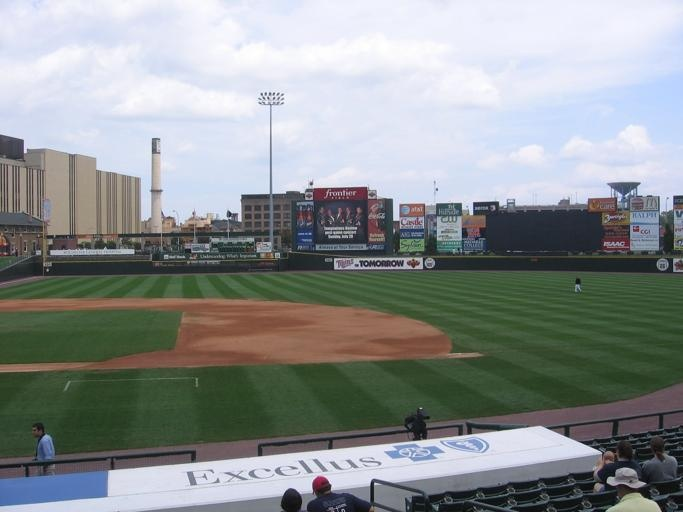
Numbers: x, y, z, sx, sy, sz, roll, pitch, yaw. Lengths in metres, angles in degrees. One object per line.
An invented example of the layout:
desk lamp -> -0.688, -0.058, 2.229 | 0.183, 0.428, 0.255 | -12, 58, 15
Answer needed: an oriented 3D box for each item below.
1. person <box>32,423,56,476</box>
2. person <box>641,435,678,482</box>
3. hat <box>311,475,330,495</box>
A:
person -> -7.797, 5.066, 22.093 | 0.676, 1.879, 0.851 | 1, -16, -21
person -> 7.476, 4.794, 19.992 | 0.936, 1.232, 0.838 | -3, 15, 12
hat -> -0.448, 4.901, 18.244 | 0.334, 0.255, 0.446 | -1, 0, -2
